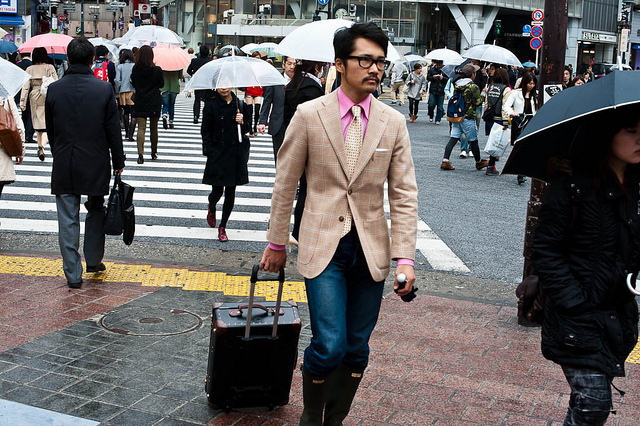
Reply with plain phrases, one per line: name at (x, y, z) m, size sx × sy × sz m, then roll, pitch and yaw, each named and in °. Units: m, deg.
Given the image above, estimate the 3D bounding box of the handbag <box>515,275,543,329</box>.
handbag at (1.376, 0.561, 3.782) m, size 0.196 × 0.334 × 0.267 m, roll 4°, pitch -8°, yaw 33°

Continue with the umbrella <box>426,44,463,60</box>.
umbrella at (5.354, -6.799, 25.474) m, size 1.269 × 0.578 × 1.223 m, roll 2°, pitch 9°, yaw -3°

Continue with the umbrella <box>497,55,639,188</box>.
umbrella at (1.449, -0.544, 3.573) m, size 0.747 × 0.241 × 0.766 m, roll -32°, pitch -11°, yaw 28°

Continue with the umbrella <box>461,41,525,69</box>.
umbrella at (5.500, -4.967, 18.952) m, size 1.656 × 0.789 × 1.600 m, roll 9°, pitch 8°, yaw 2°

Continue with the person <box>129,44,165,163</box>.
person at (-4.038, -2.553, 13.843) m, size 0.721 × 2.632 × 1.233 m, roll -2°, pitch 14°, yaw -17°

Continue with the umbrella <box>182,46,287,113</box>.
umbrella at (-1.234, -2.093, 9.031) m, size 1.274 × 0.608 × 1.229 m, roll -1°, pitch 7°, yaw 12°

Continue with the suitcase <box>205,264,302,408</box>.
suitcase at (-0.465, 0.855, 4.085) m, size 0.634 × 1.212 × 0.501 m, roll 0°, pitch 14°, yaw -10°

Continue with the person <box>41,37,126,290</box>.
person at (-2.643, -0.596, 6.685) m, size 0.790 × 2.685 × 1.180 m, roll -4°, pitch 15°, yaw -24°

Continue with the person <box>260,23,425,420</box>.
person at (0.132, 0.124, 3.690) m, size 0.968 × 2.557 × 0.684 m, roll 1°, pitch 14°, yaw -5°

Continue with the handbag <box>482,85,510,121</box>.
handbag at (4.226, -2.657, 14.349) m, size 0.300 × 0.742 × 0.570 m, roll 23°, pitch 2°, yaw -21°
